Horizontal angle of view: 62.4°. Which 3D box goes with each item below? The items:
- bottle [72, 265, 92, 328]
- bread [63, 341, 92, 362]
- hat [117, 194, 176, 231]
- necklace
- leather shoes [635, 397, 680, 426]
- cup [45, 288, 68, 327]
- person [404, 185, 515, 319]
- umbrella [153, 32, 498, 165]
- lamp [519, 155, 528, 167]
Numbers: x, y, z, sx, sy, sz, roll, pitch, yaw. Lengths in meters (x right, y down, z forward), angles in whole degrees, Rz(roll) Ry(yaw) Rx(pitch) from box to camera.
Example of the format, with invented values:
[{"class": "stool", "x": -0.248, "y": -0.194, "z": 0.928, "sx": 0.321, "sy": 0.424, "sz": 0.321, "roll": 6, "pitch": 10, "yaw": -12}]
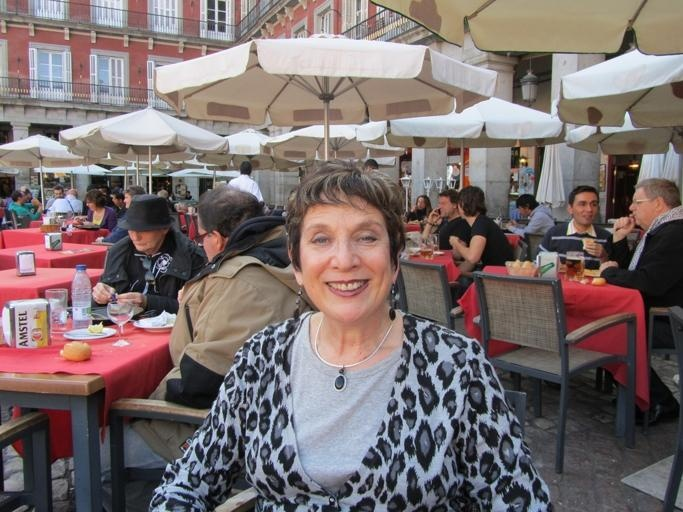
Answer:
[{"class": "bottle", "x": -1.741, "y": 0.261, "z": 3.781, "sx": 0.117, "sy": 0.354, "sz": 0.362, "roll": -6, "pitch": 13, "yaw": -22}, {"class": "bread", "x": -1.443, "y": 0.506, "z": 3.102, "sx": 0.098, "sy": 0.077, "sz": 0.130, "roll": -8, "pitch": 14, "yaw": -44}, {"class": "hat", "x": -1.563, "y": -0.360, "z": 4.578, "sx": 0.403, "sy": 0.263, "sz": 0.519, "roll": 9, "pitch": 15, "yaw": 16}, {"class": "necklace", "x": 0.004, "y": 0.428, "z": 2.361, "sx": 0.251, "sy": 0.079, "sz": 0.326, "roll": 3, "pitch": 21, "yaw": -1}, {"class": "leather shoes", "x": 2.617, "y": 1.292, "z": 4.679, "sx": 0.357, "sy": 0.137, "sz": 0.224, "roll": -5, "pitch": 1, "yaw": -28}, {"class": "cup", "x": -1.856, "y": 0.334, "z": 3.708, "sx": 0.117, "sy": 0.249, "sz": 0.104, "roll": -9, "pitch": 15, "yaw": -33}, {"class": "person", "x": 1.514, "y": -0.079, "z": 7.426, "sx": 1.354, "sy": 2.378, "sz": 1.060, "roll": 1, "pitch": -7, "yaw": 15}, {"class": "umbrella", "x": -0.222, "y": -1.633, "z": 5.954, "sx": 2.982, "sy": 1.173, "sz": 2.758, "roll": 8, "pitch": 15, "yaw": 33}, {"class": "lamp", "x": 5.496, "y": -2.878, "z": 17.056, "sx": 0.232, "sy": 0.237, "sz": 0.241, "roll": -3, "pitch": -6, "yaw": 17}]
